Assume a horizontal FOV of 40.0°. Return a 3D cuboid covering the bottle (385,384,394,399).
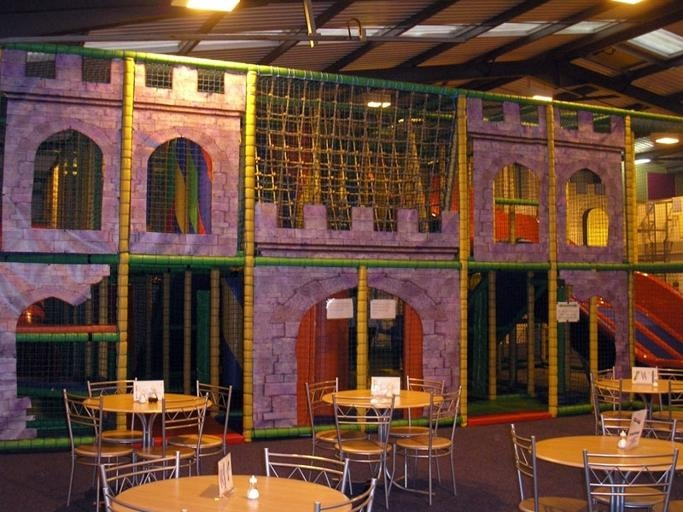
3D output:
[{"bbox_3d":[0.824,2.326,16.085,0.149,0.295,0.155,-1,-3,0],"label":"bottle"}]
